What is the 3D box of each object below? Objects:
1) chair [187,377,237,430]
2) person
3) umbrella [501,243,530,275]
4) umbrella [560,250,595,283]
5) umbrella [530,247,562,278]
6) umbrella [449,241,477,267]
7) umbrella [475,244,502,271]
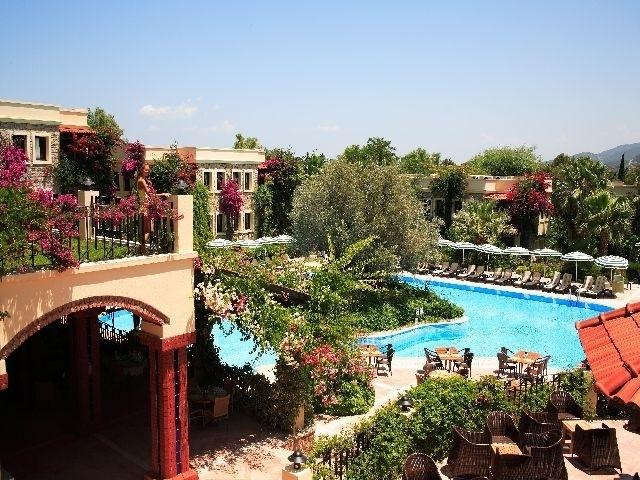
[{"bbox_3d":[-3.110,4.531,16.610,1.070,0.809,1.081,4,6,40],"label":"chair"},{"bbox_3d":[-3.966,-0.772,13.827,0.682,1.964,1.469,-2,9,-18],"label":"person"},{"bbox_3d":[12.472,1.398,37.557,1.823,2.218,1.937,1,8,21],"label":"umbrella"},{"bbox_3d":[15.045,1.675,34.350,1.708,1.987,1.760,2,8,32],"label":"umbrella"},{"bbox_3d":[14.159,1.622,36.495,1.919,2.245,1.947,-5,5,-33],"label":"umbrella"},{"bbox_3d":[9.559,0.961,38.964,1.482,1.654,1.573,-4,6,-34],"label":"umbrella"},{"bbox_3d":[10.976,1.218,37.760,1.459,1.718,1.487,-10,13,-36],"label":"umbrella"}]
